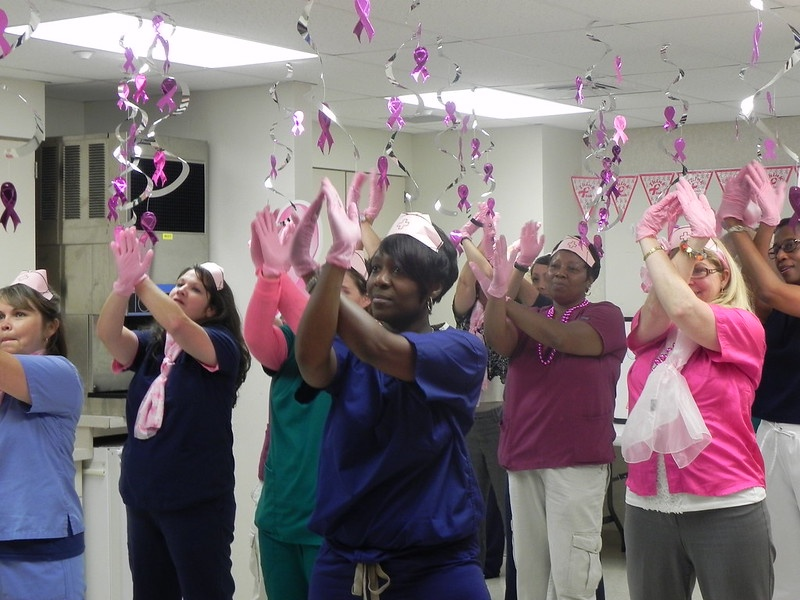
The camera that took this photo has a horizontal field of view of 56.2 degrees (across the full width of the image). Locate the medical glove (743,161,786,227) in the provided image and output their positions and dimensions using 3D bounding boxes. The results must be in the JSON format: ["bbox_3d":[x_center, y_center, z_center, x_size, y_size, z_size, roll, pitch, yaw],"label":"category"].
[{"bbox_3d":[1.493,-0.429,3.025,0.121,0.279,0.084,-11,-31,10],"label":"medical glove"}]

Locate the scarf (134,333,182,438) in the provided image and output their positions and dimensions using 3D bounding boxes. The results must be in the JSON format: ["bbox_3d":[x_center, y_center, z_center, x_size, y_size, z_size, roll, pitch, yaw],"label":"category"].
[{"bbox_3d":[-0.997,0.362,3.048,0.101,0.094,0.427,-15,-38,-51],"label":"scarf"}]

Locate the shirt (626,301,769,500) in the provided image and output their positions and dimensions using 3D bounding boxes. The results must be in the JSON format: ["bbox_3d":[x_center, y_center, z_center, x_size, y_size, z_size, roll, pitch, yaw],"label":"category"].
[{"bbox_3d":[1.022,0.351,2.604,0.342,0.683,0.486,16,-21,-36],"label":"shirt"}]

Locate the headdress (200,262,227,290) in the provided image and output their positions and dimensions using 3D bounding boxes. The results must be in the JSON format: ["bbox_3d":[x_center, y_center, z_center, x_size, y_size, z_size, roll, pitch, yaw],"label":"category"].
[{"bbox_3d":[-0.812,-0.111,3.329,0.125,0.136,0.093,-14,16,-36],"label":"headdress"}]

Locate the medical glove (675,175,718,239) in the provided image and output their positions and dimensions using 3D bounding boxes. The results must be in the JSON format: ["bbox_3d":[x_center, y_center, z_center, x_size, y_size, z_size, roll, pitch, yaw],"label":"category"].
[{"bbox_3d":[1.019,-0.300,2.624,0.126,0.235,0.058,-3,-10,-35],"label":"medical glove"}]

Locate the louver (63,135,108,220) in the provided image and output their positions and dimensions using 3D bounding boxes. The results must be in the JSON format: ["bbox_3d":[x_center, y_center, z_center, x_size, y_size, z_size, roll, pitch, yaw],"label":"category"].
[{"bbox_3d":[-2.114,-0.888,4.993,0.299,0.024,0.447,-10,-36,-31],"label":"louver"}]

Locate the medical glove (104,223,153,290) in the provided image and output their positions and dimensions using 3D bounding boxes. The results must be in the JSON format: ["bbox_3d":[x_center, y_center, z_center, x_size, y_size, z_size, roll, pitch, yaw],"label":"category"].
[{"bbox_3d":[-1.052,-0.139,2.905,0.138,0.276,0.059,4,-20,-16],"label":"medical glove"}]

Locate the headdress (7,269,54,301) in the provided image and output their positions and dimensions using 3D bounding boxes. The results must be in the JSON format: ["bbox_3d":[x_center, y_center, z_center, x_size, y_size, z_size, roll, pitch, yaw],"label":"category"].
[{"bbox_3d":[-1.536,-0.037,3.144,0.129,0.104,0.182,11,-2,5],"label":"headdress"}]
